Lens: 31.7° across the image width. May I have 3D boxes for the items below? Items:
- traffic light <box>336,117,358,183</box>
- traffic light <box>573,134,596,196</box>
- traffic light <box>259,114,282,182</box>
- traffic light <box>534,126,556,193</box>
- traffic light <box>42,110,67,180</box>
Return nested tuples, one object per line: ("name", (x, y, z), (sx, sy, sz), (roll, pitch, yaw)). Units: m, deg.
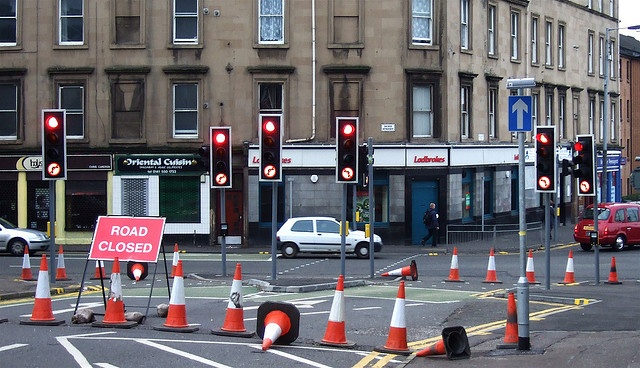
("traffic light", (1.245, -1.635, 56.181), (1.086, 3.147, 1.015), (1, 1, 23))
("traffic light", (13.300, -0.872, 56.558), (0.976, 3.038, 1.277), (-2, -2, 21))
("traffic light", (-2.509, -1.711, 56.214), (1.068, 3.187, 1.057), (0, 0, -5))
("traffic light", (10.747, -1.179, 53.608), (0.871, 3.142, 1.329), (-2, -2, 15))
("traffic light", (-13.302, -1.906, 55.884), (1.082, 3.446, 0.639), (-1, -2, -17))
